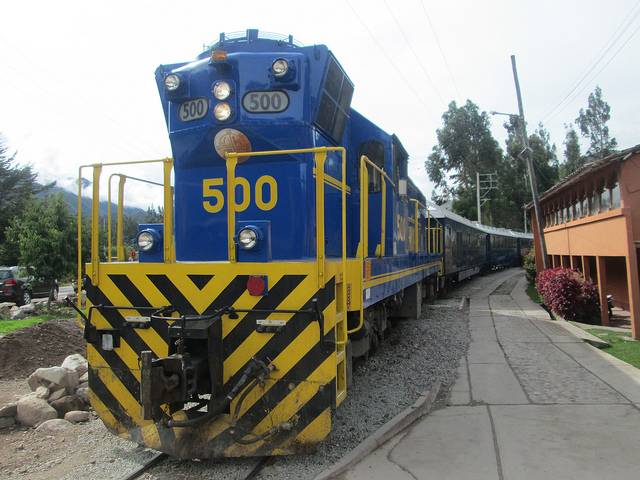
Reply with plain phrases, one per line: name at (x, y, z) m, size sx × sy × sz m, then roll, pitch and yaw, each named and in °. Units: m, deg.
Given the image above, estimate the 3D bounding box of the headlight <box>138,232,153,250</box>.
headlight at (-2.132, 0.015, 5.416) m, size 0.170 × 0.171 × 0.181 m, roll 2°, pitch -2°, yaw 9°

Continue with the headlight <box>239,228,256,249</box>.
headlight at (-0.846, -0.022, 5.004) m, size 0.180 × 0.210 × 0.066 m, roll -2°, pitch -1°, yaw 17°

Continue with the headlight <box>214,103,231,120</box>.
headlight at (-1.272, -1.660, 5.776) m, size 0.179 × 0.217 × 0.048 m, roll -2°, pitch 17°, yaw 14°
